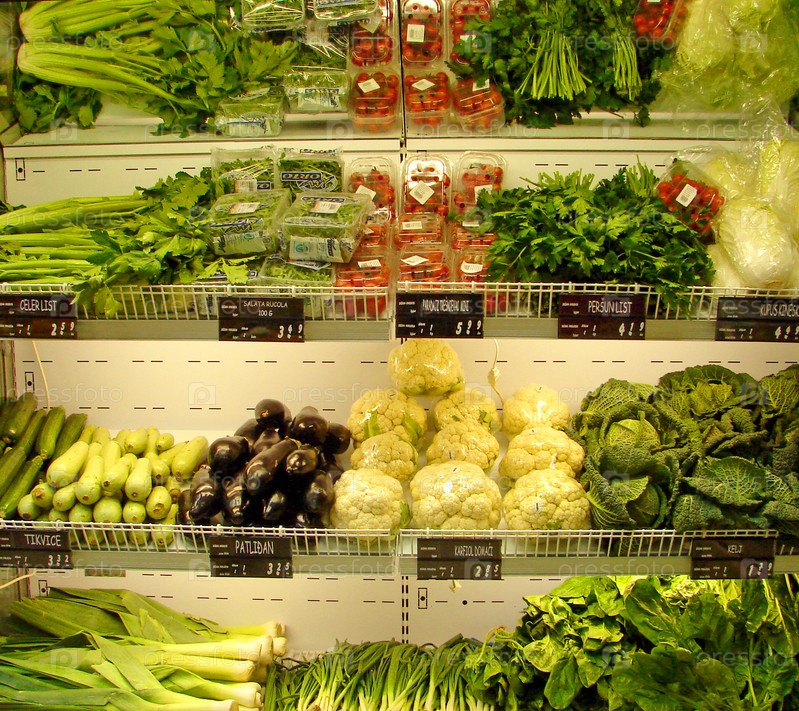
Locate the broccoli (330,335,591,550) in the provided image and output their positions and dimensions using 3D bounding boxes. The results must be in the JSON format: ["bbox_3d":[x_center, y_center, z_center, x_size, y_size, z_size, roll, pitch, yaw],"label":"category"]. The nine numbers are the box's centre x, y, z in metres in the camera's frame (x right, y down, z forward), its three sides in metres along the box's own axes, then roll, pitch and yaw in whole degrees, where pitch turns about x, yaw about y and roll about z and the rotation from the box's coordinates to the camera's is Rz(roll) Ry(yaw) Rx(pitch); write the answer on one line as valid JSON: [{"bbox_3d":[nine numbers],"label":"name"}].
[{"bbox_3d":[0.182,0.296,2.041,0.709,0.208,0.675,1,38,5],"label":"broccoli"}]
